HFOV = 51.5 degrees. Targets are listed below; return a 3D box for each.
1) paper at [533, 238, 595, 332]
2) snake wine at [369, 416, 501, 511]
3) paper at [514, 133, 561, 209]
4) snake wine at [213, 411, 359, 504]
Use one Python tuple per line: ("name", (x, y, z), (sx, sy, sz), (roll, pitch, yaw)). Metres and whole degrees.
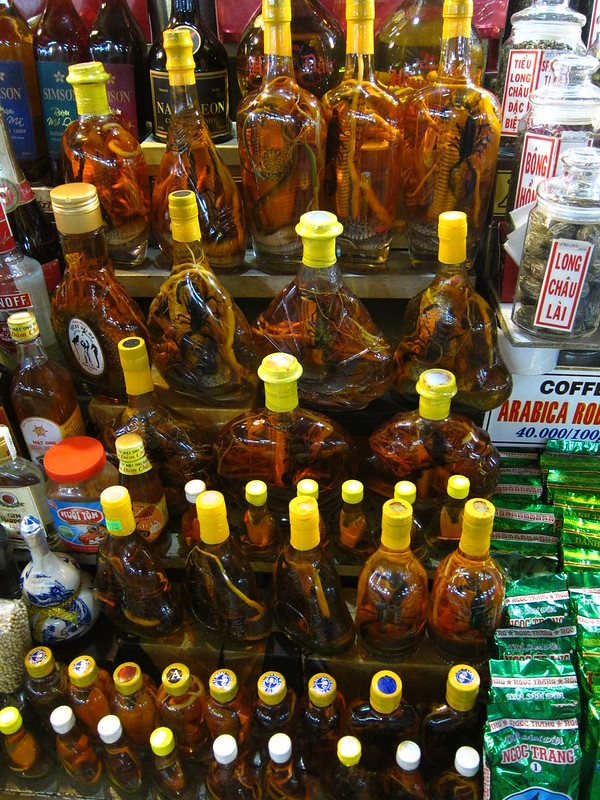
("paper", (0.305, -0.130, 0.723), (0.045, 0.113, 0.021), (11, 33, 19))
("snake wine", (0.187, 0.052, 0.862), (0.149, 0.132, 0.138), (-14, 20, -21))
("paper", (0.289, -0.292, 0.807), (0.068, 0.099, 0.065), (6, 19, 8))
("snake wine", (-0.020, 0.049, 0.848), (0.195, 0.181, 0.114), (2, 9, 1))
